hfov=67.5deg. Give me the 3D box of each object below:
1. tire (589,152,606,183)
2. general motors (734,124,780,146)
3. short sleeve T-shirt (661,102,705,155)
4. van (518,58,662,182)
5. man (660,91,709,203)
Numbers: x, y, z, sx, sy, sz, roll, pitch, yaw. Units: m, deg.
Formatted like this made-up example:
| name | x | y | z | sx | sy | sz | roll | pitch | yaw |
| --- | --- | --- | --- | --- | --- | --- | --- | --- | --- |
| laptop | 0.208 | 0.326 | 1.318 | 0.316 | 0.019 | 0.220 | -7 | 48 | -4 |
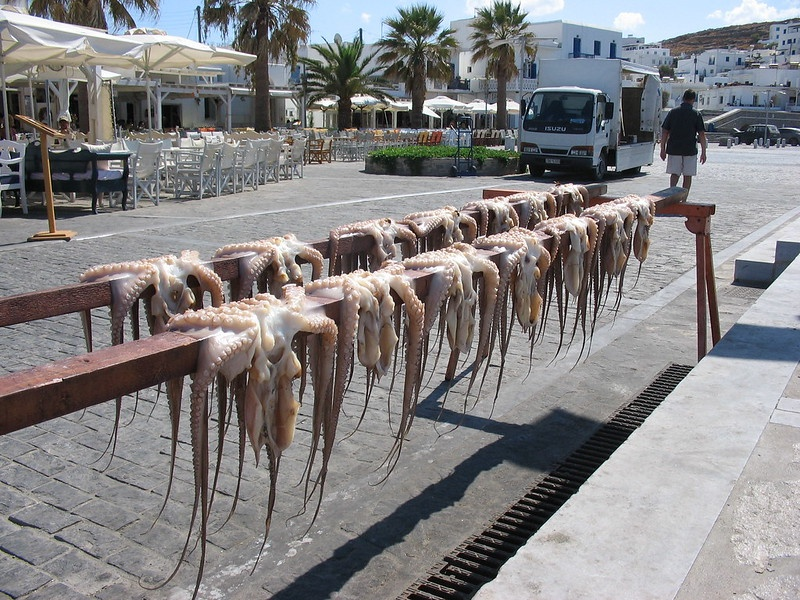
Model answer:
| name | x | y | z | sx | sy | sz | roll | pitch | yaw |
| --- | --- | --- | --- | --- | --- | --- | --- | --- | --- |
| tire | 6.428 | -4.372 | 19.609 | 0.364 | 1.169 | 1.006 | 3 | 4 | 30 |
| general motors | 31.216 | -14.424 | 52.515 | 3.310 | 1.724 | 5.892 | 8 | 18 | 34 |
| short sleeve T-shirt | 5.459 | -3.262 | 11.639 | 0.782 | 1.062 | 0.334 | 6 | -8 | 24 |
| van | 7.091 | -6.529 | 21.821 | 3.005 | 4.168 | 6.655 | 11 | 18 | 38 |
| man | 5.582 | -3.065 | 11.797 | 0.798 | 2.252 | 0.588 | 15 | 36 | 37 |
